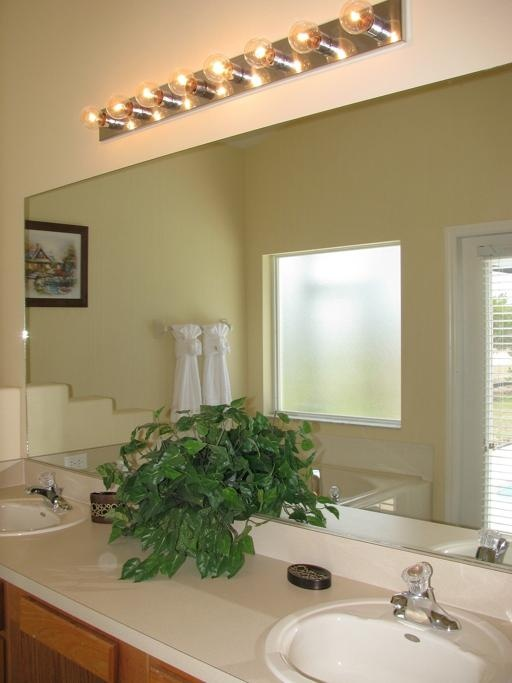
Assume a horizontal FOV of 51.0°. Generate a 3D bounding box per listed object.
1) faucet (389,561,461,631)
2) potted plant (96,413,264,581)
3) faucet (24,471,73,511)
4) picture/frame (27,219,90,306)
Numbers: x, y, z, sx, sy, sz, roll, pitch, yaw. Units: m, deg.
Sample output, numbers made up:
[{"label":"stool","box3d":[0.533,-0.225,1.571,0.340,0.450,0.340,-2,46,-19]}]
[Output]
[{"label":"faucet","box3d":[0.287,0.449,0.967,0.142,0.122,0.063,-2,-5,38]},{"label":"potted plant","box3d":[-0.203,0.354,1.337,0.360,0.372,0.538,-1,-2,-16]},{"label":"faucet","box3d":[-0.678,0.510,1.838,0.245,0.119,0.076,1,1,28]},{"label":"picture/frame","box3d":[-0.701,-0.281,1.925,0.343,0.329,0.011,2,3,38]}]
